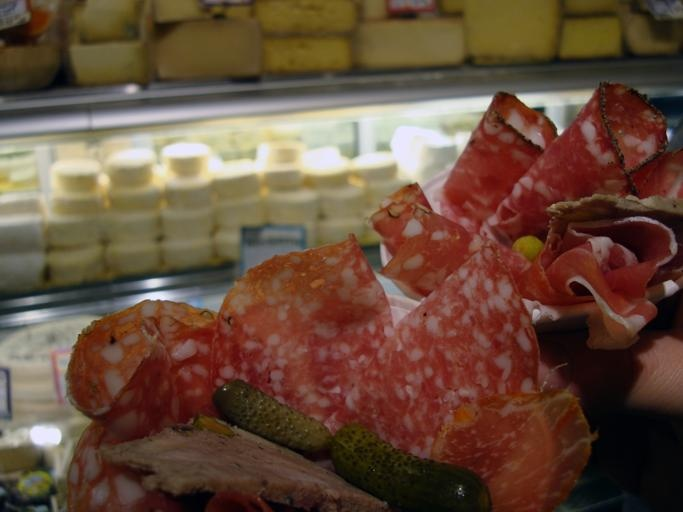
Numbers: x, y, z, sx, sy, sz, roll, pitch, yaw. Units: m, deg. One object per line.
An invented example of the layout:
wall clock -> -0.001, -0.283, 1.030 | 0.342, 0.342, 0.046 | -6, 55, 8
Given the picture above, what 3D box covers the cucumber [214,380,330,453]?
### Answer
cucumber -> -0.078, 0.200, 0.921 | 0.169, 0.053, 0.064 | 22, 59, -1
